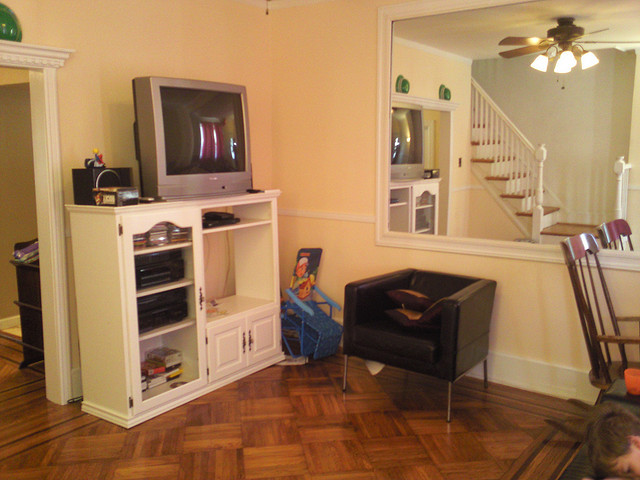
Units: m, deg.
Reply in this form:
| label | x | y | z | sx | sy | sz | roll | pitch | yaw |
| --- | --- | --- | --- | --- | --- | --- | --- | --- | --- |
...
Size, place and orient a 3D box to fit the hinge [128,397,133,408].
| label | x | y | z | sx | sy | sz | roll | pitch | yaw |
| --- | --- | --- | --- | --- | --- | --- | --- | --- | --- |
| hinge | -1.306 | 1.120 | 3.590 | 0.027 | 0.070 | 0.012 | -8 | 13 | -28 |

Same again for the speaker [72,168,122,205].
| label | x | y | z | sx | sy | sz | roll | pitch | yaw |
| --- | --- | --- | --- | --- | --- | --- | --- | --- | --- |
| speaker | -1.592 | -0.384 | 3.720 | 0.210 | 0.249 | 0.273 | 4 | 9 | 18 |

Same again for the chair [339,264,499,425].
| label | x | y | z | sx | sy | sz | roll | pitch | yaw |
| --- | --- | --- | --- | --- | --- | --- | --- | --- | --- |
| chair | 0.779 | 0.735 | 4.071 | 0.995 | 0.819 | 0.998 | -5 | 9 | -43 |

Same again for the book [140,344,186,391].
| label | x | y | z | sx | sy | sz | roll | pitch | yaw |
| --- | --- | --- | --- | --- | --- | --- | --- | --- | --- |
| book | -1.310 | 0.954 | 4.019 | 0.455 | 0.211 | 0.443 | 0 | 9 | -21 |

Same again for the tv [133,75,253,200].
| label | x | y | z | sx | sy | sz | roll | pitch | yaw |
| --- | --- | --- | --- | --- | --- | --- | --- | --- | --- |
| tv | -1.067 | -0.782 | 4.115 | 0.515 | 0.841 | 0.945 | 7 | 13 | 35 |

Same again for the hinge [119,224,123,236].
| label | x | y | z | sx | sy | sz | roll | pitch | yaw |
| --- | --- | --- | --- | --- | --- | --- | --- | --- | --- |
| hinge | -1.327 | -0.064 | 3.459 | 0.017 | 0.069 | 0.051 | -1 | 4 | -30 |

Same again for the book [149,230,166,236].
| label | x | y | z | sx | sy | sz | roll | pitch | yaw |
| --- | --- | --- | --- | --- | --- | --- | --- | --- | --- |
| book | -1.146 | -0.051 | 3.678 | 0.154 | 0.023 | 0.039 | -4 | 3 | -40 |
